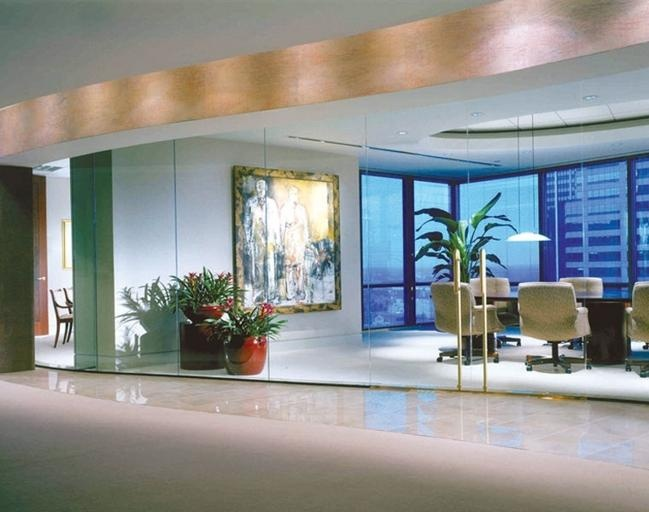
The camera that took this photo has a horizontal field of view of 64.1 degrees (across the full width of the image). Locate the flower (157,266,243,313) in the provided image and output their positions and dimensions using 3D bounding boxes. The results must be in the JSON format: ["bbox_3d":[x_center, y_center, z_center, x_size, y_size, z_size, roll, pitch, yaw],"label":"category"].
[{"bbox_3d":[-1.356,0.422,5.854,0.650,0.311,0.629,-3,-9,23],"label":"flower"}]

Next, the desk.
[{"bbox_3d":[2.245,0.666,5.129,0.755,0.706,0.741,5,-9,-27],"label":"desk"}]

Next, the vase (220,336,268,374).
[{"bbox_3d":[-0.836,1.059,5.683,0.456,0.376,0.445,-3,-6,30],"label":"vase"}]
